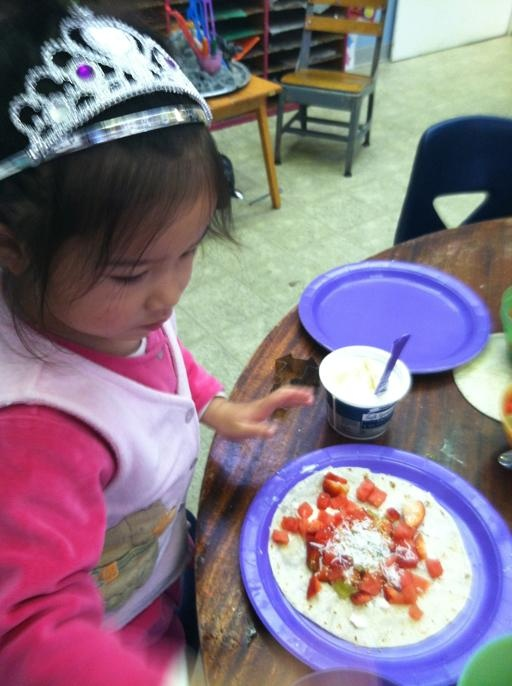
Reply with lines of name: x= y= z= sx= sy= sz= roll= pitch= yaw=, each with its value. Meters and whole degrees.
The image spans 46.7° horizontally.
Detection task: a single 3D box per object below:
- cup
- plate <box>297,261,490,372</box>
cup: x=0.148 y=0.065 z=0.840 sx=0.136 sy=0.086 sz=0.129 roll=2 pitch=36 yaw=-1
plate: x=0.234 y=-0.030 z=1.159 sx=0.415 sy=0.405 sz=0.042 roll=11 pitch=70 yaw=-6
